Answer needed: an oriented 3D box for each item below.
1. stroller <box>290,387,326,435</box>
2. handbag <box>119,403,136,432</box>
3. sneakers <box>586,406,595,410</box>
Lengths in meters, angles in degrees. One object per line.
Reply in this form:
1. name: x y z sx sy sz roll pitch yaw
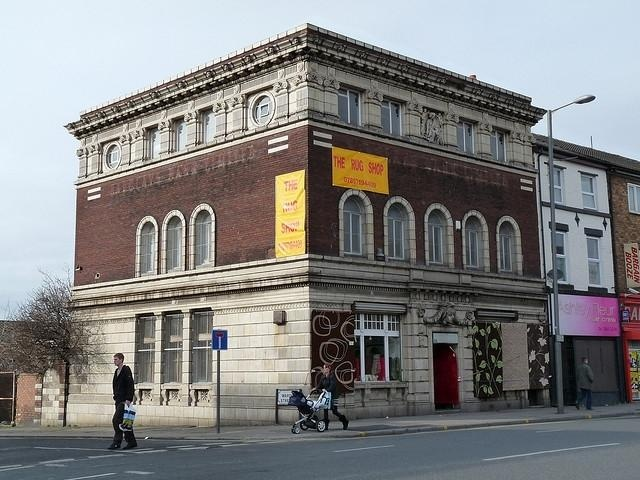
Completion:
1. stroller: -0.385 5.804 32.802 1.281 1.590 1.125 -3 4 1
2. handbag: -5.963 5.489 29.216 0.477 0.891 0.466 6 -18 -25
3. sneakers: 11.975 7.456 41.748 0.291 0.129 0.418 0 -9 -3
